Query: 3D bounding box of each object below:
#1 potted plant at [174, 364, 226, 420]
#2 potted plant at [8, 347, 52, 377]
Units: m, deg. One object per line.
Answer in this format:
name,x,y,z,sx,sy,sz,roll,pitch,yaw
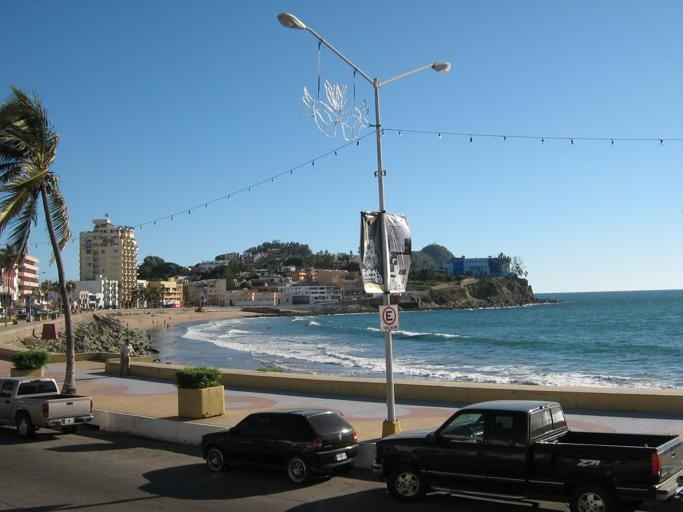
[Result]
potted plant,-4.311,4.170,20.124,1.549,1.395,1.470,-3,-5,7
potted plant,-12.689,4.258,26.532,1.114,0.986,1.365,1,-1,-23
